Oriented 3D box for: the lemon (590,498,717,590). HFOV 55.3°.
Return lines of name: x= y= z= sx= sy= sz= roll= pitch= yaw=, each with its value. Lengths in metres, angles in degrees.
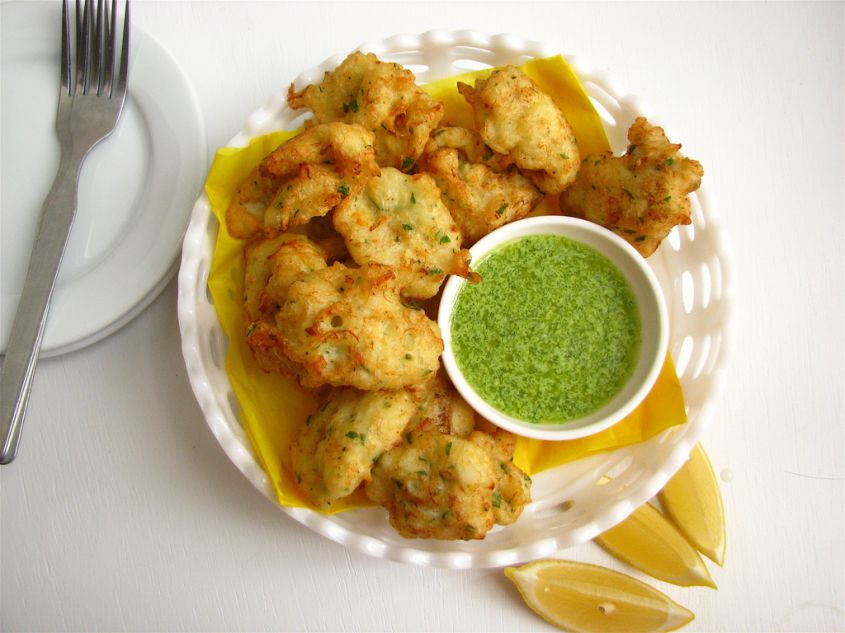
lemon: x=0.858 y=0.882 z=3.175 sx=0.531 sy=0.132 sz=0.239 roll=28 pitch=83 yaw=9
